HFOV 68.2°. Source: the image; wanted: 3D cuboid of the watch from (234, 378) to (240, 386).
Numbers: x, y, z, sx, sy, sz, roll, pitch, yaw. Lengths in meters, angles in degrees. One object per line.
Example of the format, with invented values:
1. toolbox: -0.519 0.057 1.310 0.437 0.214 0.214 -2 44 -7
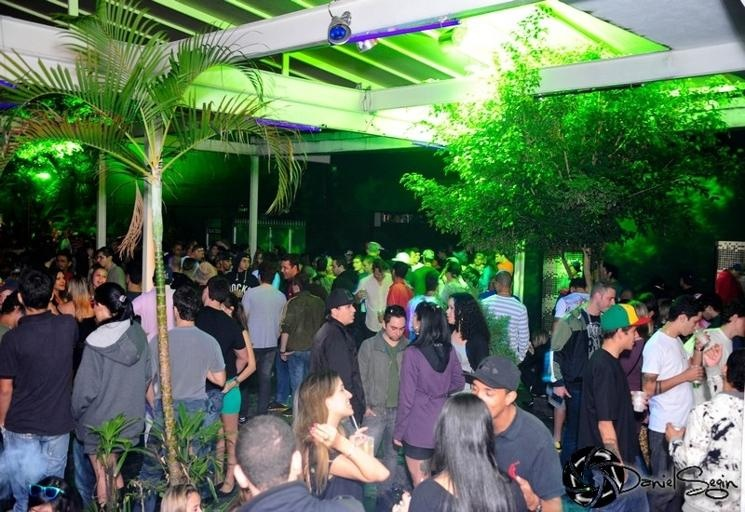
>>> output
1. watch: -1.486 1.375 6.057 0.023 0.058 0.055 17 -30 -5

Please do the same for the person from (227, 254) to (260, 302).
1. person: -2.079 0.352 8.852 0.607 1.014 0.350 1 -23 -17

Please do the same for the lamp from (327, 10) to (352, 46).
1. lamp: -0.354 -2.472 5.952 0.256 0.382 0.194 -7 -44 9

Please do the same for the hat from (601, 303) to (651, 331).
1. hat: 2.361 0.551 5.064 0.488 0.279 0.304 -3 -2 5

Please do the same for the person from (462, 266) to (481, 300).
1. person: 1.487 0.399 8.341 0.310 0.353 0.991 -2 -11 4

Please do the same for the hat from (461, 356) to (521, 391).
1. hat: 0.917 0.846 4.133 0.447 0.228 0.310 16 -3 -31

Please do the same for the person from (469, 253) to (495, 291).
1. person: 2.118 0.256 10.685 0.475 0.352 0.871 -9 30 7

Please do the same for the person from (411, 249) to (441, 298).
1. person: 0.973 0.305 10.276 0.342 1.059 0.376 23 -37 1

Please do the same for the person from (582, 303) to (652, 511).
1. person: 2.151 1.389 5.006 0.557 1.910 0.399 2 -5 -37

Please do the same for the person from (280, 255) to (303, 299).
1. person: -1.315 0.296 9.121 0.388 0.703 0.774 -2 15 -20
